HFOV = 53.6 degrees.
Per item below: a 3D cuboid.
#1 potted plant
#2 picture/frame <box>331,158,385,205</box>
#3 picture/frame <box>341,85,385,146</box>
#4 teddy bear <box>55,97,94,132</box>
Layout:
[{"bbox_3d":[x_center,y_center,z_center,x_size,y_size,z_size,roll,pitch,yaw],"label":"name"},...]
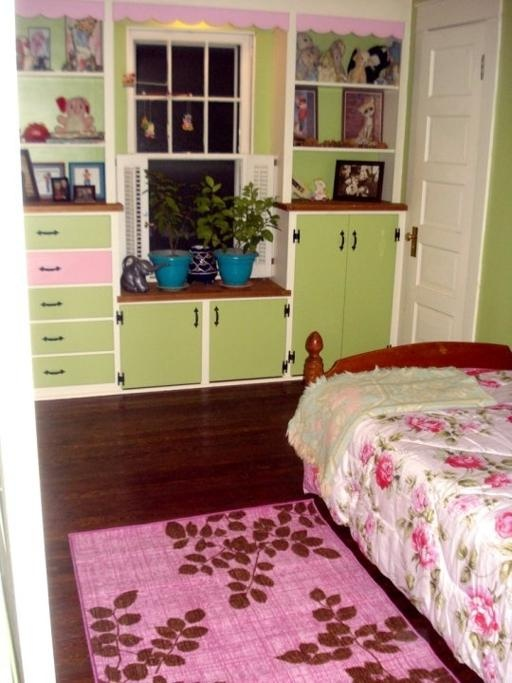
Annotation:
[{"bbox_3d":[-0.423,-0.910,4.104,0.860,0.802,0.391,-2,23,-6],"label":"potted plant"},{"bbox_3d":[0.879,-1.364,4.359,0.415,0.394,0.033,6,12,16],"label":"picture/frame"},{"bbox_3d":[0.913,-1.958,4.356,0.474,0.640,0.047,1,15,-1],"label":"picture/frame"},{"bbox_3d":[-1.365,-1.693,3.796,0.264,0.330,0.083,-2,3,-18],"label":"teddy bear"}]
